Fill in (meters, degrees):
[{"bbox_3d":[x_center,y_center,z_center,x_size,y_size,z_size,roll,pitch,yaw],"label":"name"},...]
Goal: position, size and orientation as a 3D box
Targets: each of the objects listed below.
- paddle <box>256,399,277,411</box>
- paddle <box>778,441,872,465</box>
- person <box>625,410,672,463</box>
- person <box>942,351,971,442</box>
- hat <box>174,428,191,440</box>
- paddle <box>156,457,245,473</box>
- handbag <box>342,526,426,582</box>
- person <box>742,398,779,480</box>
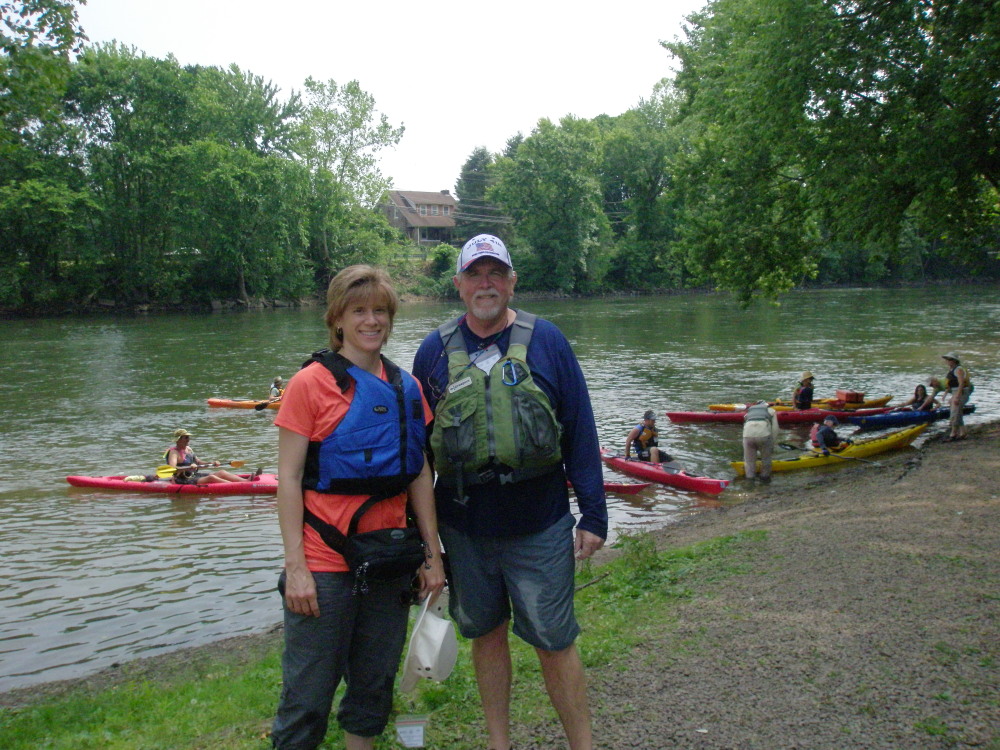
[{"bbox_3d":[-6.156,0.804,23.567,0.456,0.132,0.269,-2,8,28],"label":"paddle"},{"bbox_3d":[6.257,1.545,17.086,2.006,0.323,0.640,-6,7,-27],"label":"paddle"},{"bbox_3d":[2.917,1.294,17.142,1.137,1.097,0.616,2,5,45],"label":"person"},{"bbox_3d":[9.324,0.425,18.072,0.612,1.678,0.659,1,1,10],"label":"person"},{"bbox_3d":[-6.474,1.216,18.051,0.363,0.176,0.497,2,1,-39],"label":"hat"},{"bbox_3d":[-5.848,1.764,17.291,2.435,0.313,0.275,4,1,-20],"label":"paddle"},{"bbox_3d":[-0.807,1.249,6.301,0.335,0.166,0.459,-8,0,38],"label":"handbag"},{"bbox_3d":[4.789,1.246,16.416,0.573,1.355,0.735,-2,7,13],"label":"person"}]
